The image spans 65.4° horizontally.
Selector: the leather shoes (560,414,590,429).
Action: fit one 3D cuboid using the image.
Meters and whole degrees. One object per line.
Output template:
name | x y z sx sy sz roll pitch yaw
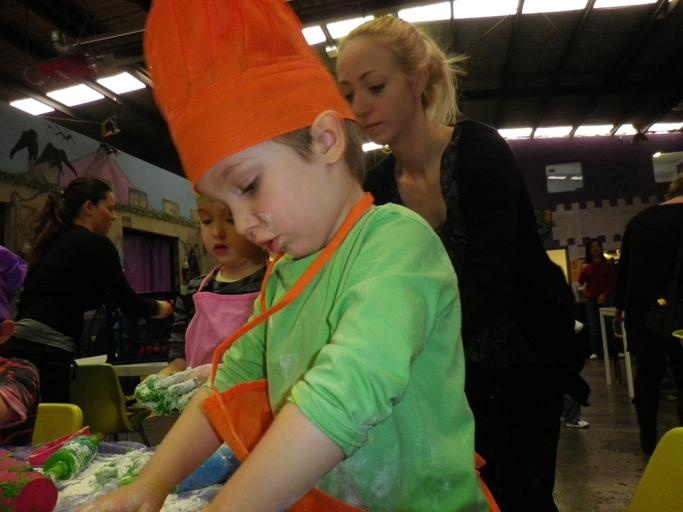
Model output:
leather shoes | 1.808 1.292 4.119 0.236 0.108 0.084 -5 1 18
